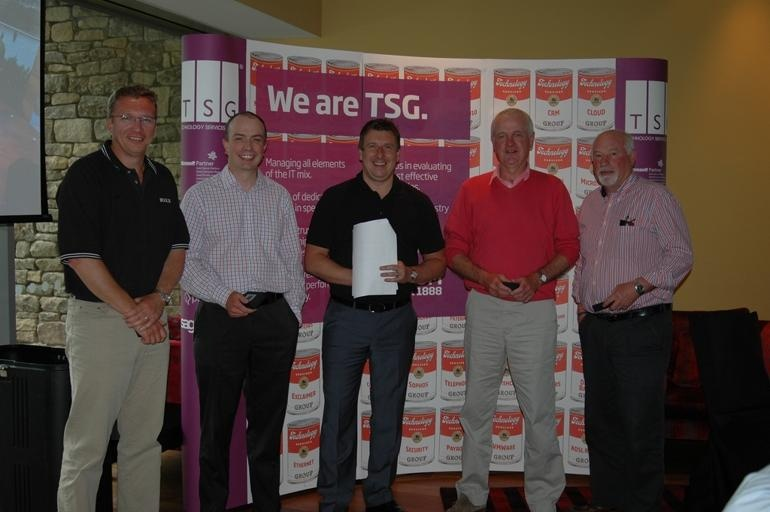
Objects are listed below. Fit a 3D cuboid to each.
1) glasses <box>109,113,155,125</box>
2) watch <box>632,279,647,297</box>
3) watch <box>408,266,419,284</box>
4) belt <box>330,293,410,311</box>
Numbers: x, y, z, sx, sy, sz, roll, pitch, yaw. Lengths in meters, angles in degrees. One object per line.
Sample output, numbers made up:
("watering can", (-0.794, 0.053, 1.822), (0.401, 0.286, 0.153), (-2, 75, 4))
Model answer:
("glasses", (-1.465, -0.790, 3.827), (0.235, 0.062, 0.072), (-3, 10, -19))
("watch", (1.638, 0.201, 4.263), (0.084, 0.092, 0.083), (5, 6, 16))
("watch", (0.181, 0.125, 4.264), (0.059, 0.094, 0.091), (-10, 3, -30))
("belt", (-0.098, 0.301, 4.324), (0.508, 0.099, 0.136), (1, 10, 0))
